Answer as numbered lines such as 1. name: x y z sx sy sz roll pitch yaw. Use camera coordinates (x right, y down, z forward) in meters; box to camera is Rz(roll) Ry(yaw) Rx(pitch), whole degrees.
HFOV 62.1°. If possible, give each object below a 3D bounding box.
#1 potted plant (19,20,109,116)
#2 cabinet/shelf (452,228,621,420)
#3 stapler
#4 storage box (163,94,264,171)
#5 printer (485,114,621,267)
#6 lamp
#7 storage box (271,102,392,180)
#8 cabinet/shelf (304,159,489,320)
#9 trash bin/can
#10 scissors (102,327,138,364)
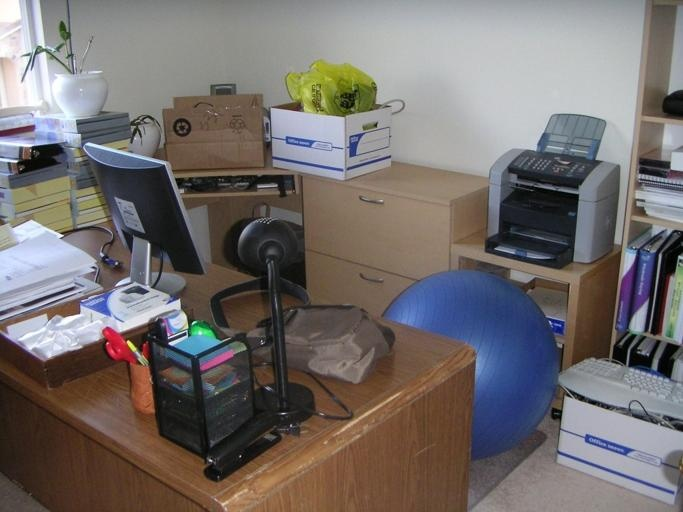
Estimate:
1. potted plant: -1.425 -0.949 2.926 0.399 0.415 0.377 -8 26 -27
2. cabinet/shelf: 1.086 0.212 2.923 0.549 0.800 0.845 -18 31 -41
3. stapler: -0.223 0.432 1.291 0.202 0.045 0.073 -25 34 -39
4. storage box: -0.747 -0.729 3.327 0.576 0.357 0.371 -1 29 -4
5. printer: 1.011 -0.326 2.701 0.589 0.589 0.583 11 28 25
6. lamp: -0.154 0.155 1.374 0.148 0.457 0.276 -7 25 -10
7. storage box: -0.065 -0.691 3.268 0.586 0.363 0.423 16 26 37
8. cabinet/shelf: 0.323 -0.129 3.191 1.015 0.821 0.522 19 28 36
9. trash bin/can: -0.284 -0.012 2.180 0.269 0.195 0.381 -4 65 -8
10. scissors: -0.590 0.239 1.500 0.039 0.133 0.039 -40 18 0
